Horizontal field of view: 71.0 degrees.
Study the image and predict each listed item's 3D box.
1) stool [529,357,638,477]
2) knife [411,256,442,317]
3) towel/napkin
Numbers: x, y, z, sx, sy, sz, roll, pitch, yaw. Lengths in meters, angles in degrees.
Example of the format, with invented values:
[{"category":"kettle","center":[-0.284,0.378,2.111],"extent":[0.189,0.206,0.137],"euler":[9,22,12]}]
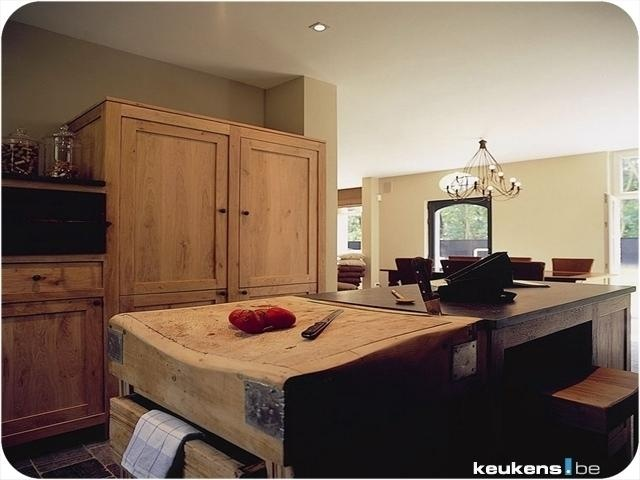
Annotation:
[{"category":"stool","center":[1.128,0.698,1.951],"extent":[0.371,0.414,0.651],"euler":[-5,-3,37]},{"category":"knife","center":[0.393,0.161,1.643],"extent":[0.072,0.292,0.024],"euler":[-15,25,15]},{"category":"towel/napkin","center":[-0.445,0.585,1.316],"extent":[0.206,0.192,0.066],"euler":[8,-11,30]}]
